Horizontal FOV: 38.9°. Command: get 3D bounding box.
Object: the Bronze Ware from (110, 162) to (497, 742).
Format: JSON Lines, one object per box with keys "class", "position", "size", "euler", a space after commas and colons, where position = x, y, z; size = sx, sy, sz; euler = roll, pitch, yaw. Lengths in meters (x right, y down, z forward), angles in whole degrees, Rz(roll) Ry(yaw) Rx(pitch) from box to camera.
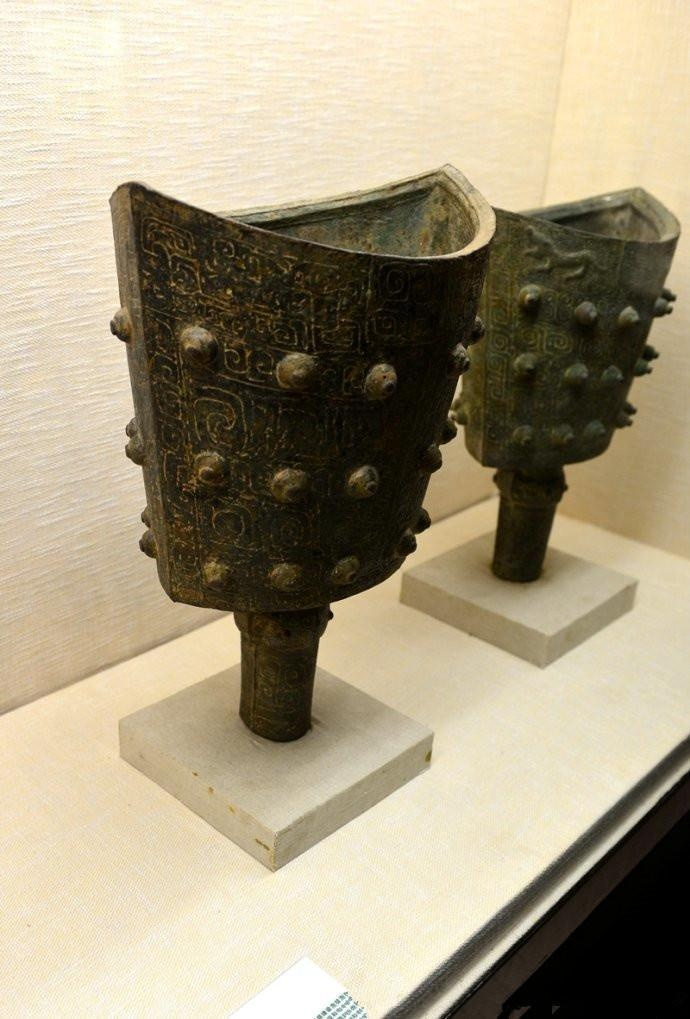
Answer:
{"class": "Bronze Ware", "position": [-0.052, -0.192, 1.373], "size": [0.444, 0.569, 0.523], "euler": [10, 31, 5]}
